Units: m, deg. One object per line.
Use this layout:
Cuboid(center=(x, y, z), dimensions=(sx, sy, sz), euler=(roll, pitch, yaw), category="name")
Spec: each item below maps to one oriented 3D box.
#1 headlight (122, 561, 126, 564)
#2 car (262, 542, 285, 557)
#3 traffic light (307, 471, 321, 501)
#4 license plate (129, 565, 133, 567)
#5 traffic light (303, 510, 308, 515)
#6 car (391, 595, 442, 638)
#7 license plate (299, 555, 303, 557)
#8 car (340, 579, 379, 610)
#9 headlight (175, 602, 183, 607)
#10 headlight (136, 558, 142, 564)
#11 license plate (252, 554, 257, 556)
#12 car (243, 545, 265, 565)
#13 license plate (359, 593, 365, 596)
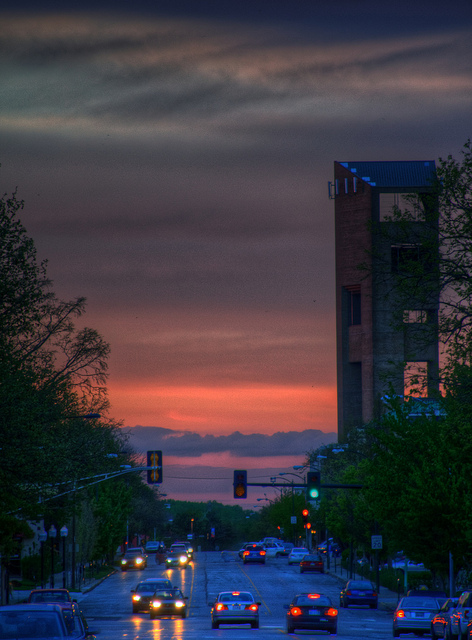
Cuboid(center=(-7.440, 16.395, 110.529), dimensions=(0.198, 0.056, 0.205), euler=(-5, 36, 1), category="headlight")
Cuboid(center=(2.972, 18.999, 135.079), dimensions=(1.587, 0.825, 0.996), euler=(1, -2, 41), category="car")
Cuboid(center=(3.432, 7.392, 72.929), dimensions=(0.605, 1.247, 1.100), euler=(-3, -8, 2), category="traffic light")
Cuboid(center=(-6.961, 16.581, 110.208), dimensions=(0.183, 0.122, 0.101), euler=(-1, 0, 2), category="license plate")
Cuboid(center=(3.820, 10.675, 90.846), dimensions=(0.325, 0.328, 0.334), euler=(1, -12, 3), category="traffic light")
Cuboid(center=(6.646, 10.998, 60.498), dimensions=(1.587, 1.277, 3.809), euler=(0, 0, 4), category="car")
Cuboid(center=(4.550, 16.739, 115.929), dimensions=(0.158, 0.139, 0.569), euler=(0, -9, -17), category="license plate")
Cuboid(center=(5.718, 13.034, 77.584), dimensions=(1.088, 0.885, 2.622), euler=(0, -1, 1), category="car")
Cuboid(center=(-2.358, 11.999, 68.932), dimensions=(0.312, 0.186, 0.114), euler=(0, -8, -18), category="headlight")
Cuboid(center=(-6.367, 16.099, 109.188), dimensions=(0.374, 0.368, 0.525), euler=(-3, -8, 0), category="headlight")
Cuboid(center=(1.375, 16.946, 117.811), dimensions=(0.266, 0.102, 0.117), euler=(-3, -8, 2), category="license plate")
Cuboid(center=(1.306, 17.133, 118.826), dimensions=(1.144, 0.940, 2.563), euler=(1, 1, -1), category="car")
Cuboid(center=(5.809, 12.804, 76.314), dimensions=(0.233, 0.125, 0.059), euler=(-1, -7, -11), category="license plate")
